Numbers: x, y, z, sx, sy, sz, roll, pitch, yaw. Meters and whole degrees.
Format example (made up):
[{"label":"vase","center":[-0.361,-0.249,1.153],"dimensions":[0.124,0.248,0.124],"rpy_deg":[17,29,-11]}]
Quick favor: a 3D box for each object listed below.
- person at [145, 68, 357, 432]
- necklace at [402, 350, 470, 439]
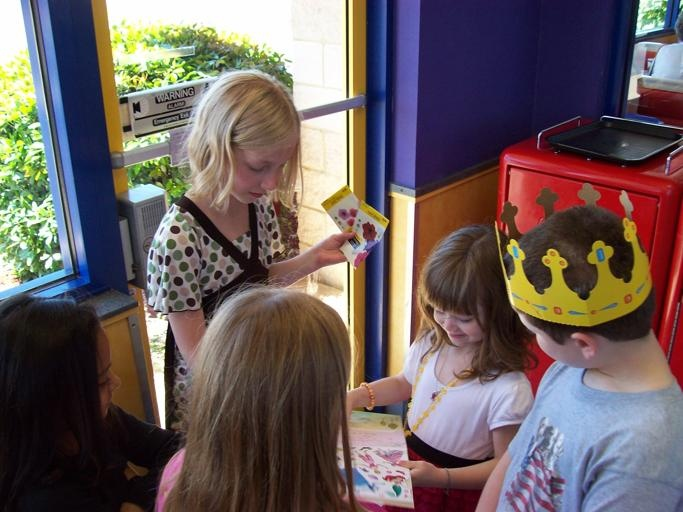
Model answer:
[{"label":"person","center":[-0.358,0.337,2.014],"dimensions":[0.592,1.871,0.603],"rpy_deg":[11,17,27]},{"label":"necklace","center":[0.288,0.462,1.840],"dimensions":[0.152,0.279,0.063],"rpy_deg":[38,-4,23]}]
